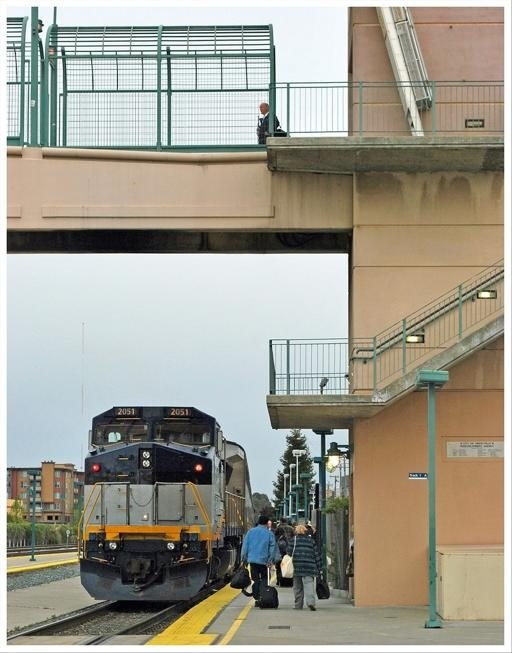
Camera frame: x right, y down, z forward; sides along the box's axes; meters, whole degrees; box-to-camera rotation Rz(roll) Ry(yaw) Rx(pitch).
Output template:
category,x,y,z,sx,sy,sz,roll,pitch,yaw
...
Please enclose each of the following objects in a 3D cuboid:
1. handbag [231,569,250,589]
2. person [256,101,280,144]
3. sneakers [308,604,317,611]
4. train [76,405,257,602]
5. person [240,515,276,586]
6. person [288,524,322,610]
category,x,y,z,sx,sy,sz,roll,pitch,yaw
handbag,-0.348,4.693,29.621,0.338,0.407,0.677,-1,-10,0
person,0.188,-4.151,32.774,0.370,0.943,0.695,1,-8,-14
sneakers,0.980,5.221,29.574,0.168,0.178,0.070,6,-9,-4
train,-2.060,3.699,32.851,2.592,3.941,8.344,-1,-10,3
person,-0.017,4.394,29.967,0.523,1.713,0.433,-1,-30,7
person,0.855,4.555,30.150,0.563,1.646,1.374,-1,-8,3
